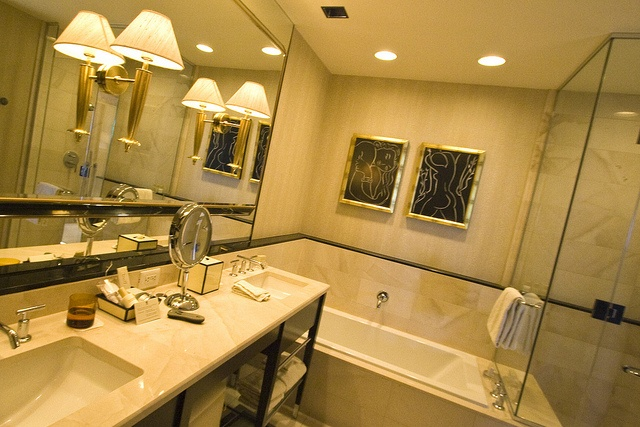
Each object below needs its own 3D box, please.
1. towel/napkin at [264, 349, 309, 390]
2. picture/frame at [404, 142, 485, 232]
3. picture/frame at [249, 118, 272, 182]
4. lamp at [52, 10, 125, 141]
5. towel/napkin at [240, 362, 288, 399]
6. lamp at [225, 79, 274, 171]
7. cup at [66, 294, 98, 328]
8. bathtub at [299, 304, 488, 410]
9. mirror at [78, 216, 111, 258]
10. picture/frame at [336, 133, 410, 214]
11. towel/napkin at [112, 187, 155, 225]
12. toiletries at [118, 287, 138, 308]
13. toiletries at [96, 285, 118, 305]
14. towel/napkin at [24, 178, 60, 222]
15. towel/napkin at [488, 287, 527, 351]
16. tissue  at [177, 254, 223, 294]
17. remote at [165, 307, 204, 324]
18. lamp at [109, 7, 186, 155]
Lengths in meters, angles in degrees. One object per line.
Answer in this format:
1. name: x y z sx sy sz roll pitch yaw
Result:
1. towel/napkin: -0.207 1.150 3.069 0.245 0.071 0.193 8 11 42
2. picture/frame: 1.226 -0.252 3.969 0.695 0.894 0.098 16 4 24
3. picture/frame: -0.490 -0.535 3.379 0.041 0.506 0.470 16 14 16
4. lamp: -1.238 -0.709 2.200 0.341 0.625 0.333 8 0 -8
5. towel/napkin: -0.405 1.160 2.902 0.225 0.080 0.230 6 1 31
6. lamp: -0.585 -0.646 3.183 0.380 0.660 0.356 14 2 -6
7. cup: -1.204 0.512 2.162 0.134 0.161 0.169 -3 -4 5
8. bathtub: 0.621 1.280 3.640 1.577 0.271 0.823 11 8 18
9. mirror: -1.316 0.128 2.393 0.144 0.225 0.159 2 -4 10
10. picture/frame: 0.569 -0.399 4.194 0.701 0.796 0.061 15 5 27
11. towel/napkin: -1.130 -0.054 2.495 0.107 0.200 0.211 28 16 25
12. toiletries: -1.018 0.450 2.211 0.102 0.089 0.061 16 11 43
13. toiletries: -1.137 0.425 2.240 0.123 0.040 0.088 26 10 24
14. towel/napkin: -1.430 -0.050 2.158 0.178 0.176 0.060 7 0 2
15. towel/napkin: 1.612 0.885 3.501 0.267 0.451 0.589 9 1 18
16. tissue : -0.793 0.391 2.660 0.232 0.232 0.243 -20 -9 39
17. remote: -0.741 0.566 2.300 0.169 0.037 0.087 9 5 2
18. lamp: -1.031 -0.752 2.404 0.420 0.730 0.408 17 4 27
